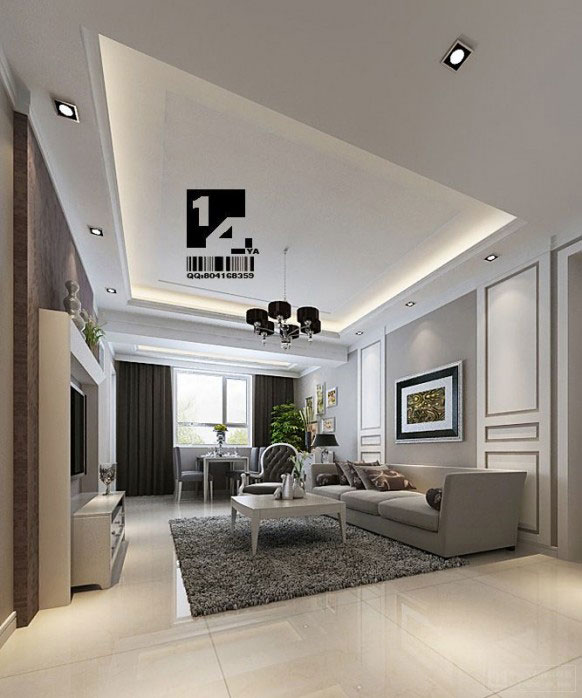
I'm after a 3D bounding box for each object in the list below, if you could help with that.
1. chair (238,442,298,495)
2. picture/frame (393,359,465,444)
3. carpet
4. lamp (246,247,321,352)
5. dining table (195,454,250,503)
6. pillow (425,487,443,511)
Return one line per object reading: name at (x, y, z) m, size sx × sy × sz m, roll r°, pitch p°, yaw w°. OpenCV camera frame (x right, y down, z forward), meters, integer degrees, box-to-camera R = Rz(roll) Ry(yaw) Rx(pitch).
chair at (-0.265, 1.732, 6.461) m, size 0.579 × 1.052 × 0.706 m, roll -7°, pitch -17°, yaw 28°
picture/frame at (1.489, 0.609, 5.387) m, size 0.091 × 0.808 × 1.165 m, roll 2°, pitch -9°, yaw -19°
carpet at (-0.025, 1.555, 3.836) m, size 1.754 × 0.058 × 2.189 m, roll 3°, pitch -10°, yaw -19°
lamp at (-0.063, -0.606, 4.954) m, size 0.643 × 1.084 × 0.791 m, roll 2°, pitch -6°, yaw 6°
dining table at (-1.117, 2.196, 7.988) m, size 0.693 × 0.911 × 1.031 m, roll 2°, pitch -8°, yaw -19°
pillow at (1.097, 1.150, 3.828) m, size 0.111 × 0.138 × 0.156 m, roll -6°, pitch -9°, yaw 6°
